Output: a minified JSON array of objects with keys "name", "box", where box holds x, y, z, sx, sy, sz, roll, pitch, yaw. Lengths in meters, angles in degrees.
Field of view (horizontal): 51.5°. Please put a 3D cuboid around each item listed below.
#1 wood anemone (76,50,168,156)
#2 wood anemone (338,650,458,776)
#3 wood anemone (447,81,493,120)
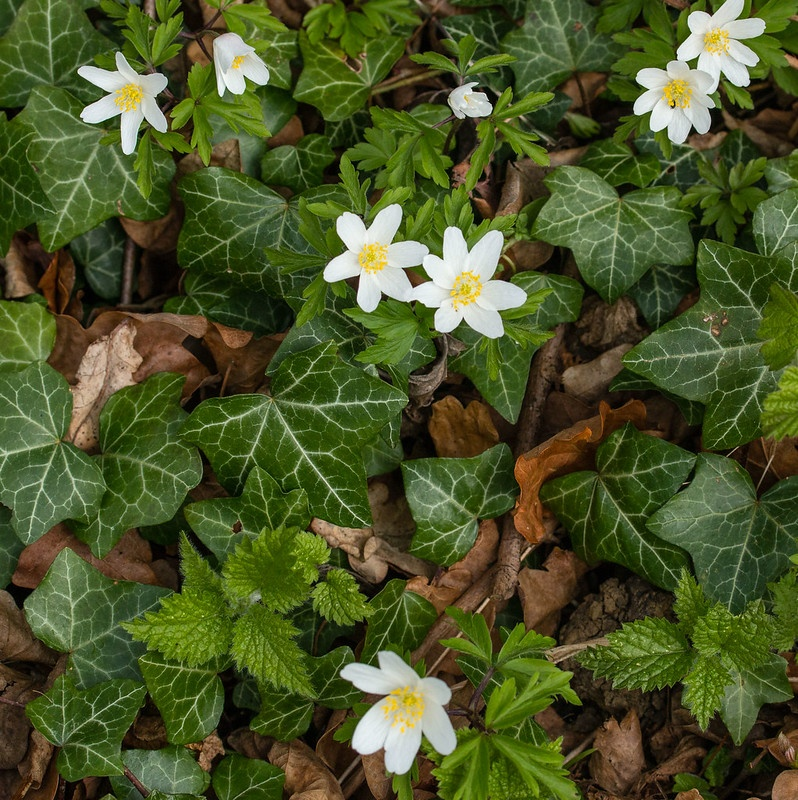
[{"name":"wood anemone","box":[-0.889,-0.989,2.725,0.215,0.087,0.231,17,37,10]},{"name":"wood anemone","box":[0.042,0.833,2.404,0.336,0.327,0.074,39,19,19]},{"name":"wood anemone","box":[0.252,-1.008,2.820,0.086,0.135,0.147,19,26,24]}]
